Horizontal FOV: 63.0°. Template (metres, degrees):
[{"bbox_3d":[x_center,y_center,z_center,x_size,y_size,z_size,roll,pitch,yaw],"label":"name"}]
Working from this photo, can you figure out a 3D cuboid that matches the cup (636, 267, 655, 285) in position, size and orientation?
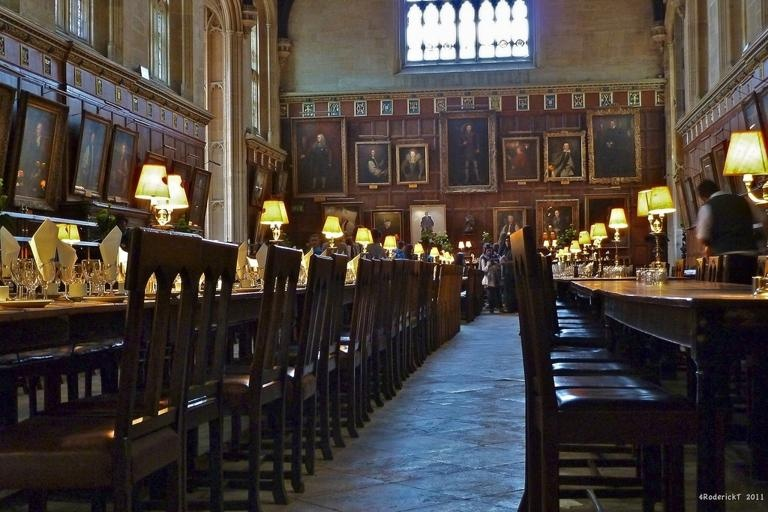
[{"bbox_3d":[1.938,0.141,4.608,0.133,0.104,0.136,0,2,0],"label":"cup"}]

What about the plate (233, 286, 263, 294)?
[{"bbox_3d":[-1.061,0.258,4.856,0.144,0.036,0.138,0,-1,12],"label":"plate"}]

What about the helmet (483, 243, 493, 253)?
[{"bbox_3d":[2.859,-0.236,17.087,0.205,0.263,0.270,0,-5,-15],"label":"helmet"}]
